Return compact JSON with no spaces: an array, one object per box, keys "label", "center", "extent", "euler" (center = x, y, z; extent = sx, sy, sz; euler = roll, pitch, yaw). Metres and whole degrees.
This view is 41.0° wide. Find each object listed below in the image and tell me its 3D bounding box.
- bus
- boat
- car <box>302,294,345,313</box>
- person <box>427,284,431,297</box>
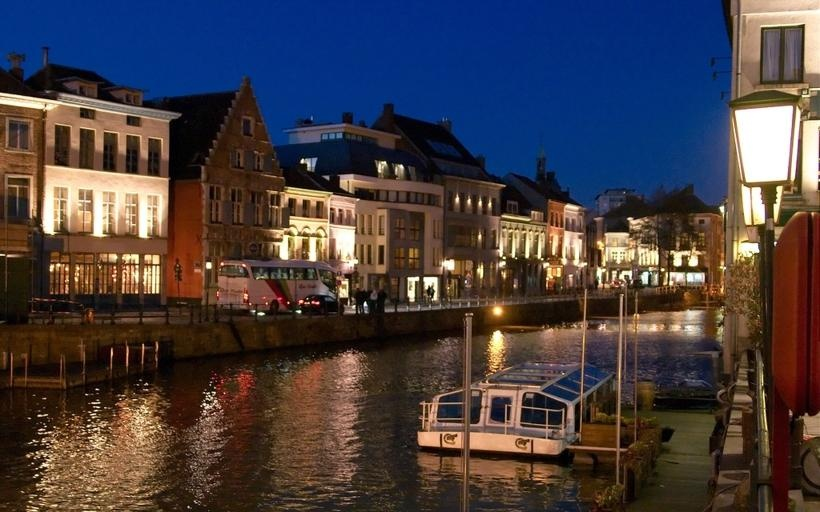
[{"label":"bus","center":[-9.493,2.170,79.675],"extent":[9.275,3.733,4.825],"euler":[1,-3,-24]},{"label":"boat","center":[4.607,6.892,48.496],"extent":[6.165,3.403,10.908],"euler":[-3,-4,33]},{"label":"car","center":[-6.687,3.518,79.666],"extent":[1.388,0.897,2.632],"euler":[0,1,30]},{"label":"person","center":[1.711,3.163,96.597],"extent":[0.360,0.919,0.864],"euler":[-1,-3,2]}]
